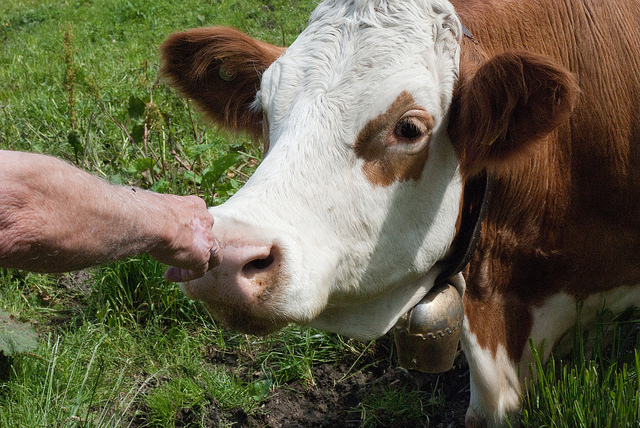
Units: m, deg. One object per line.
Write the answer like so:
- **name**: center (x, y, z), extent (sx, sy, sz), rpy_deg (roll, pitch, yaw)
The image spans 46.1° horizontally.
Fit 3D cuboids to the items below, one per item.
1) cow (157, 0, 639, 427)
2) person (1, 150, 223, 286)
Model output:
- **cow**: center (0.772, -0.325, 5.037), extent (3.563, 2.089, 1.800), rpy_deg (-18, 14, -37)
- **person**: center (-0.960, 0.073, 3.795), extent (1.241, 0.384, 0.396), rpy_deg (15, 26, -29)
